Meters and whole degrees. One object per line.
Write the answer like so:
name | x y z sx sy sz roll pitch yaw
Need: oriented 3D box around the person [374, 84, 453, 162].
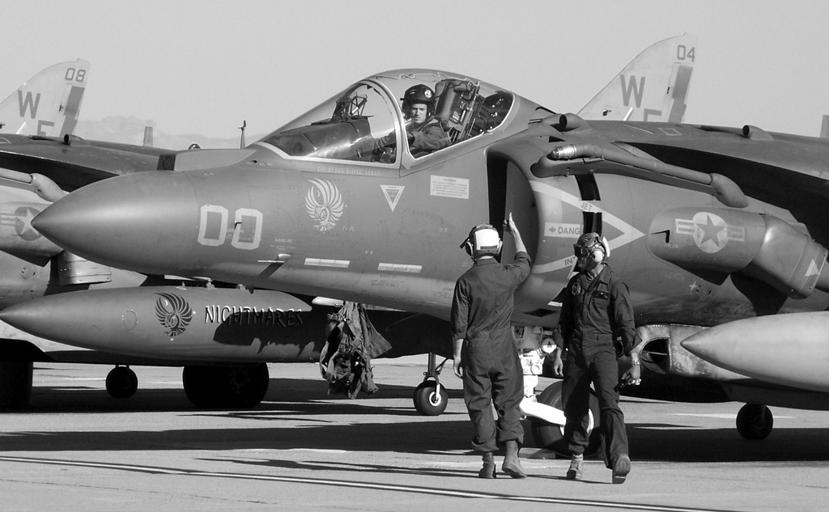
person | -0.032 -1.418 8.447 0.986 0.762 0.587 15 27 29

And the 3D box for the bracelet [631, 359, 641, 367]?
bracelet | 2.206 1.060 7.688 0.081 0.052 0.027 2 0 2

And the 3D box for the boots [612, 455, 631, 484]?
boots | 1.952 2.051 7.305 0.140 0.331 0.156 5 28 4

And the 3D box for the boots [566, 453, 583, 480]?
boots | 1.562 2.078 7.537 0.118 0.142 0.336 0 -5 11

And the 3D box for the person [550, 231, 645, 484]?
person | 1.754 0.973 7.559 0.743 2.399 0.308 -2 -9 37

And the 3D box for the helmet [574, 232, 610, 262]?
helmet | 1.819 -0.072 7.850 0.351 0.255 0.274 1 -6 0

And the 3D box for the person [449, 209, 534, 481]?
person | 0.748 0.841 7.472 0.951 2.576 0.467 10 -10 -40

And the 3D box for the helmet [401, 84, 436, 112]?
helmet | 0.038 -1.708 8.342 0.309 0.251 0.341 1 -19 0

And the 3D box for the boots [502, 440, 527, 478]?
boots | 0.959 1.958 7.451 0.181 0.306 0.434 -3 -28 27
